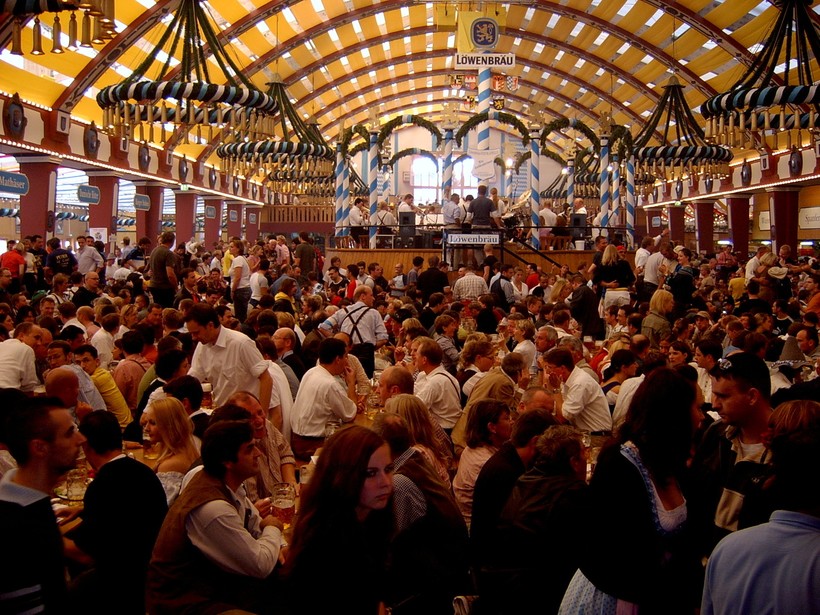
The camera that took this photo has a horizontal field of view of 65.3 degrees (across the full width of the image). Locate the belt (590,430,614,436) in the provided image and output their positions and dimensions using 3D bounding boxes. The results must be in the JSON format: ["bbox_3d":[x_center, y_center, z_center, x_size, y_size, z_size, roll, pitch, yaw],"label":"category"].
[{"bbox_3d":[1.593,1.038,5.307,0.123,0.033,0.122,0,-2,36],"label":"belt"}]
